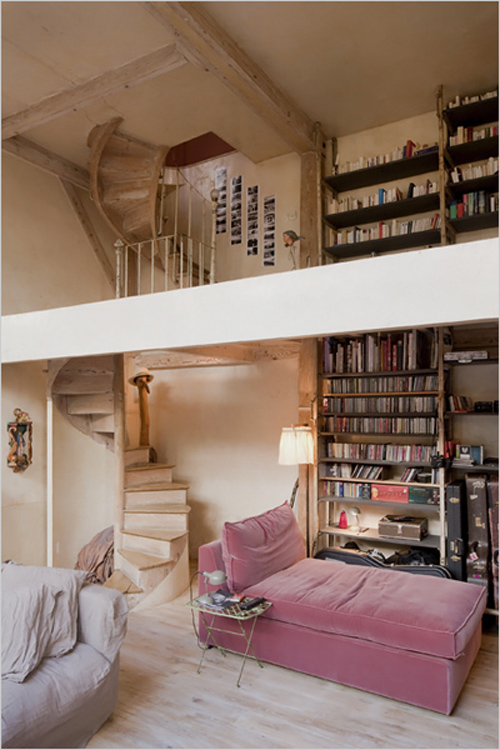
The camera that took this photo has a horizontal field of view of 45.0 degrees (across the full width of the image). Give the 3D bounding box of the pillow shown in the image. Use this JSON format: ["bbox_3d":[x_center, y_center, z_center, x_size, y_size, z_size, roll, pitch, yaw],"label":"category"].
[{"bbox_3d":[0.102,1.165,4.116,0.228,0.475,0.817,-14,-6,36],"label":"pillow"}]

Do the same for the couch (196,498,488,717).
[{"bbox_3d":[0.581,1.285,3.688,1.455,0.817,0.920,-1,2,31],"label":"couch"}]

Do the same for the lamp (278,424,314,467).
[{"bbox_3d":[0.351,0.551,4.681,0.281,0.310,0.280,0,-1,3],"label":"lamp"}]
